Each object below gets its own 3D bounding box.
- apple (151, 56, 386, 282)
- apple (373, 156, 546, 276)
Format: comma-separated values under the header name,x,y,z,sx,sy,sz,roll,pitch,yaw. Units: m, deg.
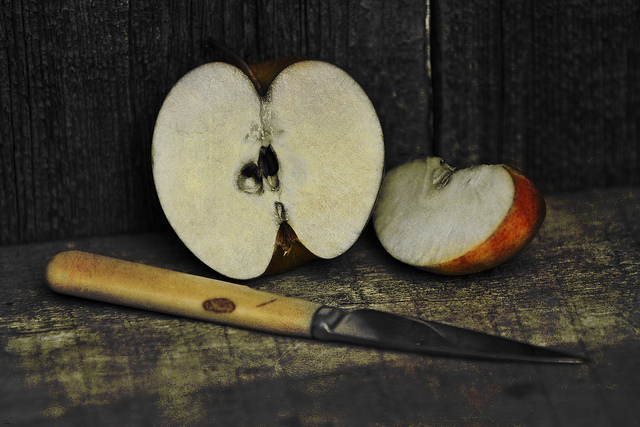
name,x,y,z,sx,sy,sz,roll,pitch,yaw
apple,-0.106,-0.103,1.588,0.434,0.424,0.275,-11,7,-17
apple,0.250,-0.002,1.593,0.241,0.139,0.242,-12,7,-34
